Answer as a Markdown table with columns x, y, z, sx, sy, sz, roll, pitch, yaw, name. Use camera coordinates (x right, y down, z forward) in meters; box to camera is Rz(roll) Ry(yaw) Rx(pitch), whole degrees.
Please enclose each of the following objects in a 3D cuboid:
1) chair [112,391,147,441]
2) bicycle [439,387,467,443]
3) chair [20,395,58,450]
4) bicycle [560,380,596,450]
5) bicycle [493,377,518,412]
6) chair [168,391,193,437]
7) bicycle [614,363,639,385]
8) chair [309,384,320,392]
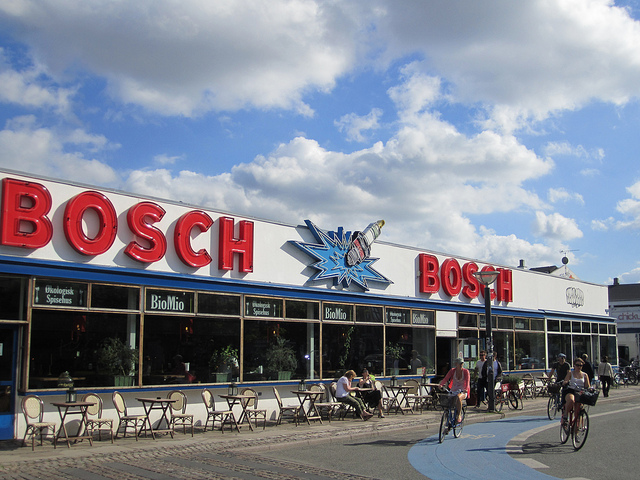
| x | y | z | sx | sy | sz | roll | pitch | yaw | name |
| --- | --- | --- | --- | --- | --- | --- | --- | --- | --- |
| -4.791 | 4.413 | 15.447 | 0.798 | 1.188 | 0.766 | -1 | -11 | -8 | chair |
| 3.411 | 4.570 | 15.915 | 0.402 | 0.966 | 1.528 | 8 | 4 | 31 | bicycle |
| -6.607 | 4.329 | 14.519 | 0.815 | 1.241 | 1.351 | 4 | 4 | -23 | chair |
| 6.155 | 4.522 | 14.773 | 0.465 | 1.259 | 1.284 | 7 | 4 | 12 | bicycle |
| 6.951 | 5.831 | 23.202 | 0.709 | 1.078 | 1.679 | 6 | -7 | -12 | bicycle |
| -3.787 | 4.737 | 16.649 | 0.639 | 1.143 | 1.534 | 5 | 4 | -14 | chair |
| 19.129 | 8.449 | 38.296 | 2.301 | 1.502 | 1.184 | 4 | -9 | -43 | bicycle |
| -0.160 | 4.861 | 20.022 | 0.234 | 0.294 | 0.214 | 17 | -24 | -35 | chair |
